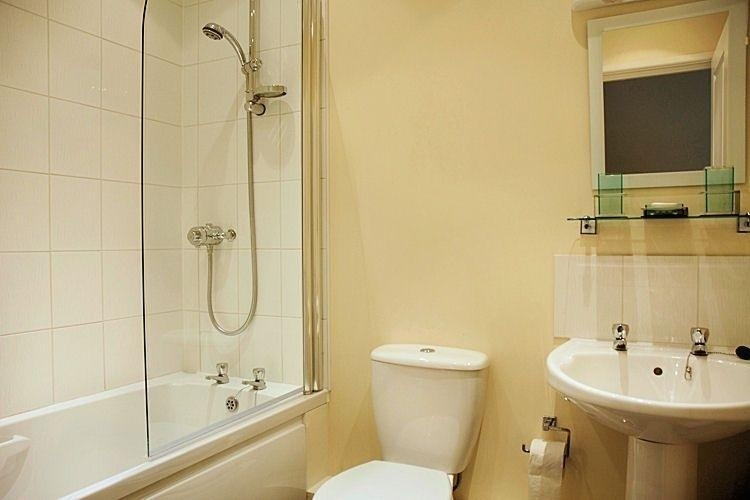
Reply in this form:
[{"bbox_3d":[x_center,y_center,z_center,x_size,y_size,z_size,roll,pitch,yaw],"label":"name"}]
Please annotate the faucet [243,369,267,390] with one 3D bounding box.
[{"bbox_3d":[-0.530,0.584,2.568,0.056,0.077,0.109,-2,-9,18],"label":"faucet"}]
